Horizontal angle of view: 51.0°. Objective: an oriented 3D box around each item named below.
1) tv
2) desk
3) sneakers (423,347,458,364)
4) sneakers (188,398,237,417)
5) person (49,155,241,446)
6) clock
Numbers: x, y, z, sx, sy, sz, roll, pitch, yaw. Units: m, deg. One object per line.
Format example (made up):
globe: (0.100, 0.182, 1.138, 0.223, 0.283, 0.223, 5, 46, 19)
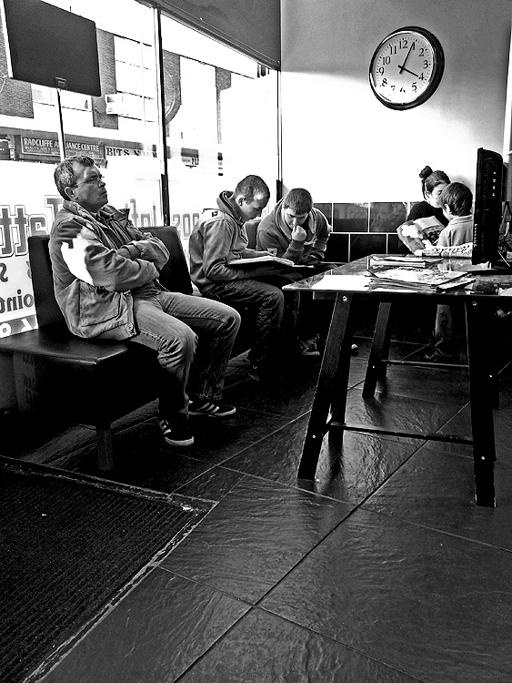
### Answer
tv: (0.990, -0.571, 2.289, 0.085, 0.477, 0.313, 9, 15, 43)
desk: (0.469, 0.119, 2.161, 0.843, 0.813, 1.081, 3, 15, 18)
sneakers: (1.209, 0.094, 3.482, 0.152, 0.078, 0.210, 6, 9, 44)
sneakers: (-0.208, 0.302, 2.603, 0.235, 0.110, 0.088, 0, 12, -3)
person: (-0.495, -0.208, 2.335, 0.662, 1.147, 0.526, 3, 16, 23)
clock: (1.207, -2.179, 4.247, 0.576, 0.593, 0.113, -20, 6, 41)
